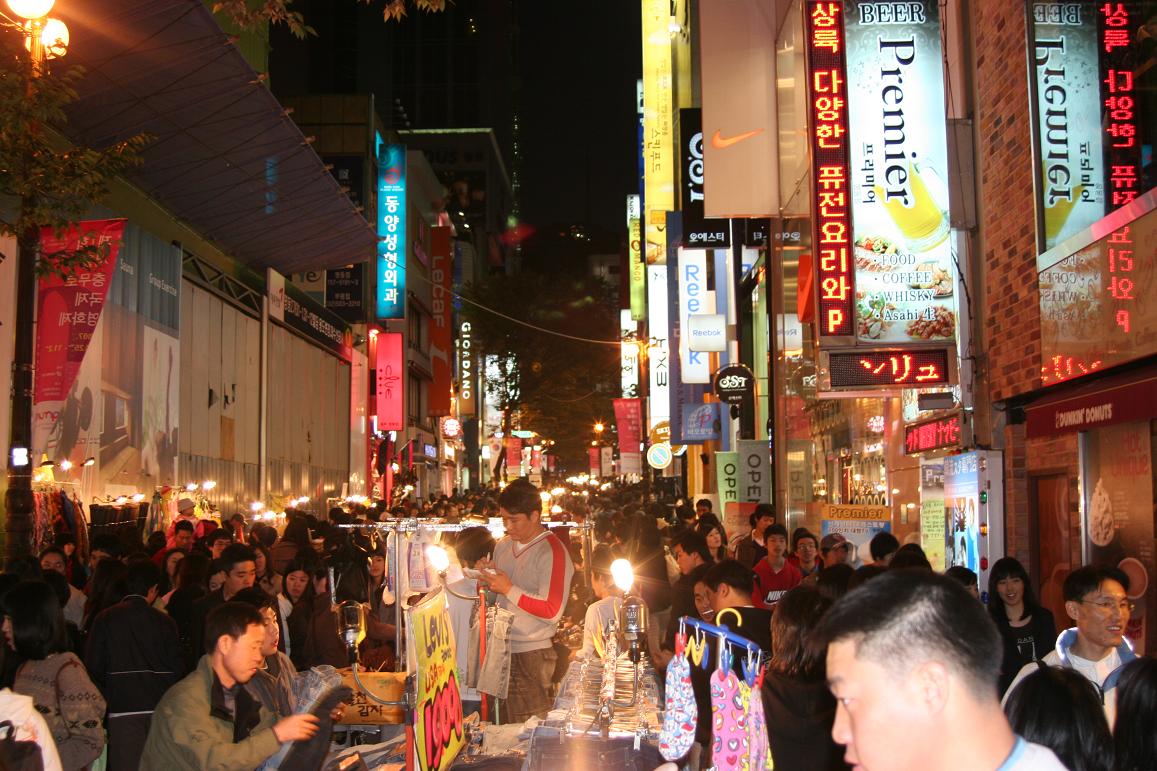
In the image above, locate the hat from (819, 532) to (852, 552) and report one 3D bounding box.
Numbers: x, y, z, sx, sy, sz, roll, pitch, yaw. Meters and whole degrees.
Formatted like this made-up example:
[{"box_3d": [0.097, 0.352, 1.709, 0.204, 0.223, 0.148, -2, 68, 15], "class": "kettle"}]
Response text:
[{"box_3d": [3.107, 1.862, 12.598, 0.229, 0.180, 0.327, 6, -19, -20], "class": "hat"}]
